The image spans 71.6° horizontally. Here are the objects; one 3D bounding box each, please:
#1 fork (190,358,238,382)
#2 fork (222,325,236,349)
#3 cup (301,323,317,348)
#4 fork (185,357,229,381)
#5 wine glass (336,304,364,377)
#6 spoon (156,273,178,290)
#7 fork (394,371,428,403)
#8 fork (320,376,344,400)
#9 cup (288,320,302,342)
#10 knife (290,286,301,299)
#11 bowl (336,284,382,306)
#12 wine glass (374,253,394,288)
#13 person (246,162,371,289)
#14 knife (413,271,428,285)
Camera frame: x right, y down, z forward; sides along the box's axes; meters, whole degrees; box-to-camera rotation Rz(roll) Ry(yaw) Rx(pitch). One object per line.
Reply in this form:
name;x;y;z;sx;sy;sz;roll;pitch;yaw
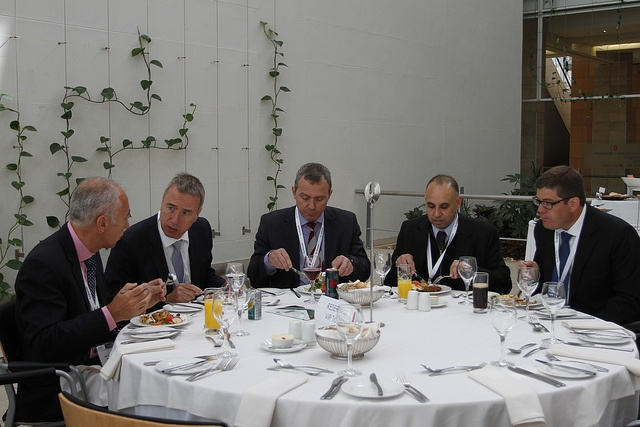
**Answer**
fork;-0.418;0.635;1.803;0.054;0.035;0.237;26;23;30
fork;-0.414;0.575;2.039;0.034;0.153;0.022;-18;51;-12
cup;-0.049;0.563;2.035;0.080;0.126;0.089;0;0;-3
fork;-0.441;0.638;1.789;0.049;0.031;0.211;30;25;30
wine glass;0.113;0.503;1.788;0.101;0.280;0.171;-1;10;-3
spoon;-0.922;0.417;2.683;0.058;0.123;0.047;25;4;-3
fork;0.333;0.652;1.650;0.031;0.034;0.227;5;16;-14
fork;0.050;0.640;1.645;0.030;0.007;0.130;-5;11;16
cup;-0.104;0.558;2.085;0.068;0.105;0.069;2;0;0
knife;-0.156;0.516;2.873;0.023;0.017;0.191;-2;6;-11
bowl;0.242;0.471;2.544;0.156;0.063;0.146;1;-1;0
wine glass;0.388;0.331;2.715;0.090;0.219;0.178;2;10;16
person;-0.074;0.084;3.343;0.890;0.896;0.532;0;10;6
knife;0.707;0.462;3.143;0.034;0.025;0.148;1;41;-49
